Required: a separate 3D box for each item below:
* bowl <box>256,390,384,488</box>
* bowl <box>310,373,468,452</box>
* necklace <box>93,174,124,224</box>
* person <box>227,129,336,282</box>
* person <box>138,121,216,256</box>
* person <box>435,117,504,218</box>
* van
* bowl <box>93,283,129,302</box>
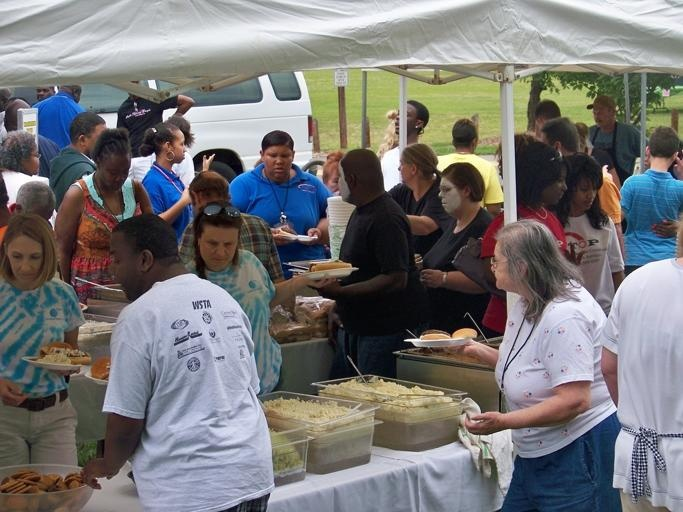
[{"bbox_3d":[-0.140,0.910,3.662,0.340,0.163,0.468,-1,0,-39],"label":"bowl"},{"bbox_3d":[0.260,0.819,3.917,0.392,0.218,0.599,0,1,-45],"label":"bowl"},{"bbox_3d":[-1.669,-0.408,5.267,0.205,0.340,0.179,-17,10,-29],"label":"necklace"},{"bbox_3d":[-0.434,-0.372,6.009,0.916,1.206,0.702,-6,3,-26],"label":"person"},{"bbox_3d":[-1.498,-0.721,6.567,0.677,1.544,0.534,-3,-30,-21],"label":"person"},{"bbox_3d":[1.168,-0.834,6.831,0.875,0.878,0.526,13,29,29],"label":"person"},{"bbox_3d":[-1.908,-2.150,10.925,3.447,1.736,1.970,0,4,-26],"label":"van"},{"bbox_3d":[-1.456,0.239,4.626,0.203,0.047,0.210,2,4,0],"label":"bowl"}]
